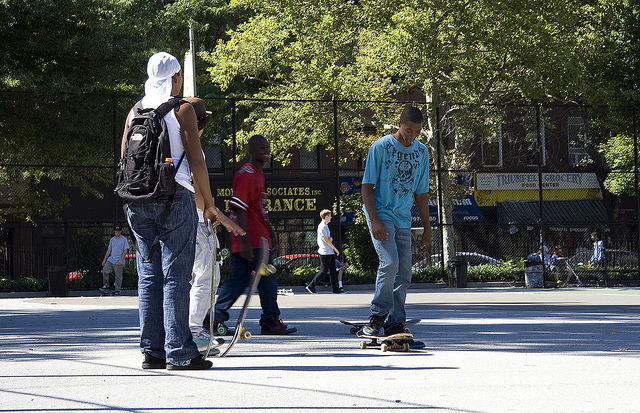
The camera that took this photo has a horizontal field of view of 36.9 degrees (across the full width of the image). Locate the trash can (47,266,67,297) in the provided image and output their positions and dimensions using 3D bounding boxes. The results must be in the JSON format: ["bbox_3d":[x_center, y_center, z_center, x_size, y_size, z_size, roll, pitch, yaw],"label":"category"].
[{"bbox_3d":[-8.127,2.293,29.522,0.719,1.021,0.652,2,-3,-29],"label":"trash can"}]

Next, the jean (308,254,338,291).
[{"bbox_3d":[0.208,1.936,29.122,0.709,1.051,0.932,0,-6,-12],"label":"jean"}]

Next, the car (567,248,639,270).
[{"bbox_3d":[10.093,1.787,34.074,2.338,0.734,1.008,-3,-6,19],"label":"car"}]

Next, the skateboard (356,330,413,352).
[{"bbox_3d":[1.267,2.460,17.881,0.362,0.227,1.242,4,-5,-33],"label":"skateboard"}]

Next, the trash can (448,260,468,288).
[{"bbox_3d":[4.577,2.204,31.952,0.631,0.889,0.600,-2,-6,12],"label":"trash can"}]

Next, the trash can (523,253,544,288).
[{"bbox_3d":[7.148,2.088,31.969,0.632,1.130,0.516,-2,-6,13],"label":"trash can"}]

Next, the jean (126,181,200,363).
[{"bbox_3d":[-2.662,1.121,16.811,1.346,3.195,1.152,-7,-8,28],"label":"jean"}]
